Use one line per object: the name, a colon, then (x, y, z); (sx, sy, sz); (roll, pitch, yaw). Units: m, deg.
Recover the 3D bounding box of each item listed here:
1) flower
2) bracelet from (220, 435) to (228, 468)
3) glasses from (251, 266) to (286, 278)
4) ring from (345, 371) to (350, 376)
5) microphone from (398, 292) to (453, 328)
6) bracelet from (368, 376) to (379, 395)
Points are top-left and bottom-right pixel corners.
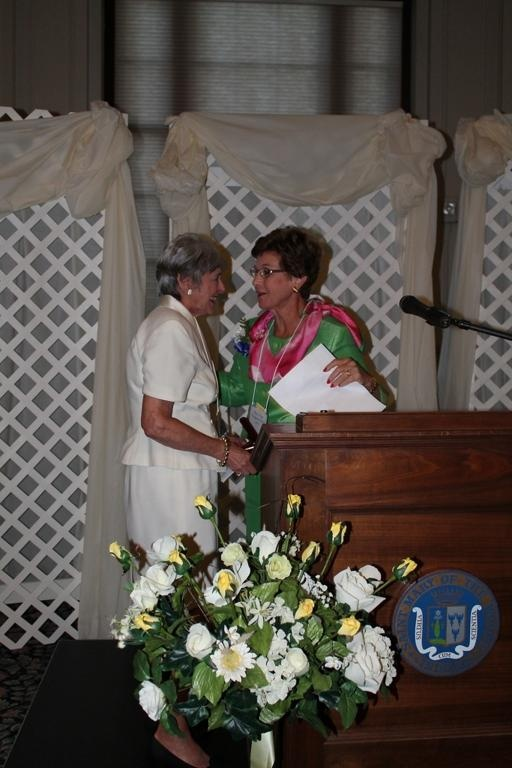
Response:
flower: (0.011, 0.490, 1.456); (0.544, 0.582, 0.359); (-4, 11, -7)
bracelet: (-0.091, 0.207, 2.285); (0.022, 0.073, 0.064); (2, 15, -12)
glasses: (0.032, -0.385, 2.636); (0.075, 0.020, 0.070); (3, -2, -28)
ring: (0.237, -0.029, 1.945); (0.004, 0.012, 0.012); (5, 13, 36)
microphone: (0.446, -0.191, 2.017); (0.122, 0.088, 0.217); (-1, 9, 10)
bracelet: (0.346, 0.001, 2.247); (0.028, 0.053, 0.042); (0, 11, -13)
